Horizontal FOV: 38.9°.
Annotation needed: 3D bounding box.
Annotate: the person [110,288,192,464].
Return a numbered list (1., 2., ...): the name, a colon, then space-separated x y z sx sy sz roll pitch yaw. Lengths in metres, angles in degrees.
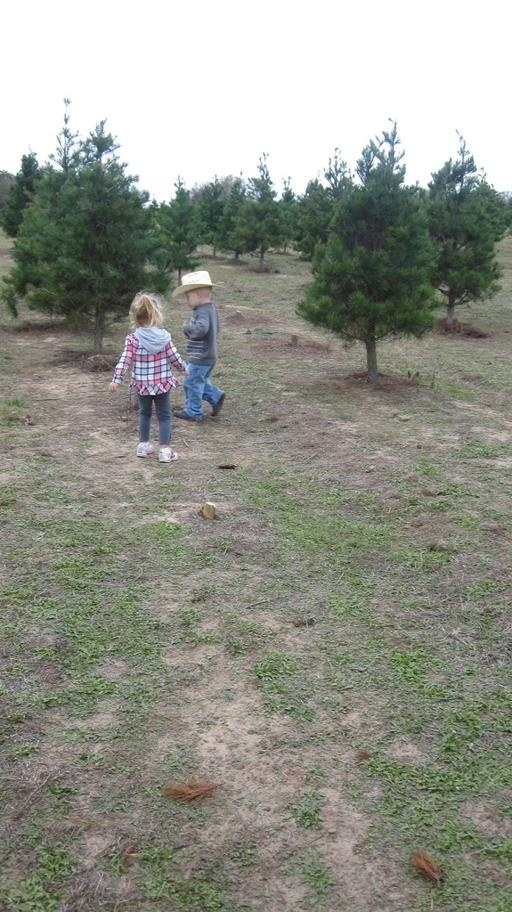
1. person: -0.963 -0.714 6.579 0.639 1.568 1.207 -1 8 -7

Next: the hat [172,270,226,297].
1. hat: -0.705 -1.944 8.045 0.403 0.292 1.037 -1 9 -7

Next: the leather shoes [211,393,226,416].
1. leather shoes: -0.435 -0.569 8.375 0.132 0.309 0.112 14 24 -2

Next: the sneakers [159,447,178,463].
1. sneakers: -0.820 -0.027 6.733 0.087 0.099 0.214 7 20 13

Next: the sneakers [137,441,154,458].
1. sneakers: -1.065 -0.063 6.814 0.080 0.145 0.211 6 25 11
